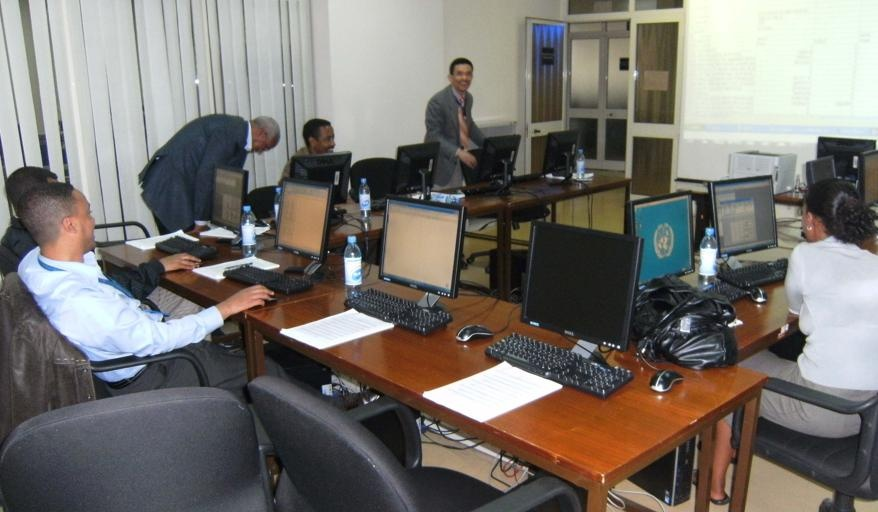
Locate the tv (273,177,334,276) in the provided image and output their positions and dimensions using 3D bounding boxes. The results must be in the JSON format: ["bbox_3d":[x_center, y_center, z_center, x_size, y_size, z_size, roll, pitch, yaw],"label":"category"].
[{"bbox_3d":[-0.921,-0.187,4.173,0.642,0.653,0.219,12,11,38],"label":"tv"}]

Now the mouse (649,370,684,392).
[{"bbox_3d":[1.113,0.603,2.971,0.194,0.074,0.082,-14,20,-33],"label":"mouse"}]

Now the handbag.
[{"bbox_3d":[1.245,0.370,3.245,0.533,0.291,0.691,-1,11,35],"label":"handbag"}]

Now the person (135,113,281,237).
[{"bbox_3d":[-2.047,-0.574,5.547,1.175,1.496,0.749,6,21,-13],"label":"person"}]

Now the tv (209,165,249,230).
[{"bbox_3d":[-1.632,-0.456,4.762,0.511,0.477,0.054,12,9,43],"label":"tv"}]

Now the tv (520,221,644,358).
[{"bbox_3d":[0.738,0.196,3.127,0.629,0.581,0.066,15,13,32],"label":"tv"}]

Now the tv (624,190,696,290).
[{"bbox_3d":[1.327,-0.089,3.637,0.578,0.420,0.058,-14,18,-39],"label":"tv"}]

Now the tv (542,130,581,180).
[{"bbox_3d":[1.344,-1.070,6.426,0.205,0.508,0.560,22,31,38],"label":"tv"}]

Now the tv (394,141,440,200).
[{"bbox_3d":[-0.140,-0.761,5.514,0.193,0.509,0.526,30,33,35],"label":"tv"}]

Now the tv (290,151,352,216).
[{"bbox_3d":[-0.910,-0.568,4.710,0.584,0.565,0.202,-14,39,-38],"label":"tv"}]

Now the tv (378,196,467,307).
[{"bbox_3d":[-0.099,-0.014,3.594,0.629,0.529,0.066,12,12,35],"label":"tv"}]

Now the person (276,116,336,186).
[{"bbox_3d":[-1.196,-0.909,5.844,0.410,0.776,0.541,4,8,24],"label":"person"}]

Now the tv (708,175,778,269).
[{"bbox_3d":[2.068,-0.270,4.131,0.687,0.518,0.064,-8,4,-30],"label":"tv"}]

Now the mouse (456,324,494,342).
[{"bbox_3d":[0.194,0.419,3.314,0.160,0.055,0.094,-7,14,-25],"label":"mouse"}]
